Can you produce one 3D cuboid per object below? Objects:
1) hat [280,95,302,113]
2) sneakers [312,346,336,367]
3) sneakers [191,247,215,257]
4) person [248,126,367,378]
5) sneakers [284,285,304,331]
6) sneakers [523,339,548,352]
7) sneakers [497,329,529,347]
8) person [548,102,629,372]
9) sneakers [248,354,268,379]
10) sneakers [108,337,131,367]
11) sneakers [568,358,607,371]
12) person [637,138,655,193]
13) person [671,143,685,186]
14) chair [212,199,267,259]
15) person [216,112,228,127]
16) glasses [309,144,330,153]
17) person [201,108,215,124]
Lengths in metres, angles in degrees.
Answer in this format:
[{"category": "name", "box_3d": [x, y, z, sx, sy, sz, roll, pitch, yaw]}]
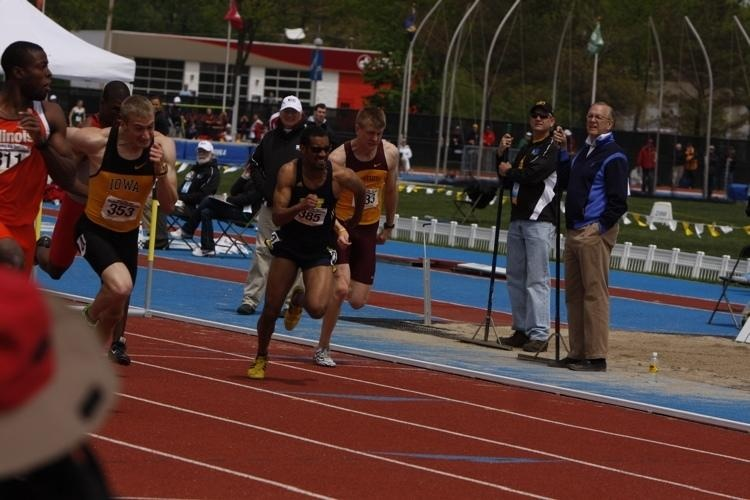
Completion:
[{"category": "hat", "box_3d": [-0.972, -1.717, 9.304, 0.215, 0.167, 0.311, 2, 4, 2]}, {"category": "sneakers", "box_3d": [-0.492, 1.037, 7.793, 0.112, 0.125, 0.278, 1, 1, -28]}, {"category": "sneakers", "box_3d": [-3.370, 0.032, 15.786, 0.484, 0.196, 0.161, 4, 1, -7]}, {"category": "person", "box_3d": [-0.596, 0.014, 7.181, 0.578, 1.481, 0.986, 7, 3, 21]}, {"category": "sneakers", "box_3d": [-0.730, 0.549, 7.282, 0.168, 0.443, 0.194, 9, 24, -12]}, {"category": "sneakers", "box_3d": [1.858, 1.108, 9.310, 0.357, 0.147, 0.127, 3, -3, -22]}, {"category": "sneakers", "box_3d": [1.672, 1.075, 9.827, 0.444, 0.198, 0.161, 1, -2, 6]}, {"category": "person", "box_3d": [2.294, -0.168, 8.716, 0.626, 2.521, 0.837, 5, 3, -19]}, {"category": "sneakers", "box_3d": [-1.006, 1.015, 6.877, 0.101, 0.123, 0.275, 4, 2, -3]}, {"category": "sneakers", "box_3d": [-2.189, 0.851, 6.809, 0.110, 0.220, 0.320, 1, 0, -39]}, {"category": "sneakers", "box_3d": [2.310, 1.215, 8.722, 0.423, 0.174, 0.151, 4, -2, -6]}, {"category": "person", "box_3d": [11.692, -3.599, 34.302, 0.773, 2.182, 1.412, 7, 3, 17]}, {"category": "person", "box_3d": [13.983, -3.978, 36.921, 0.553, 1.947, 1.083, 7, 3, 19]}, {"category": "chair", "box_3d": [-2.608, -0.407, 15.255, 0.857, 1.369, 1.038, 8, 16, 27]}, {"category": "person", "box_3d": [-7.489, -6.378, 39.121, 0.522, 0.715, 0.957, -13, 13, 3]}, {"category": "glasses", "box_3d": [-0.459, -0.848, 6.765, 0.172, 0.073, 0.093, 4, 4, -14]}, {"category": "person", "box_3d": [-8.024, -6.424, 38.491, 0.594, 0.820, 1.257, 5, 4, -13]}]
